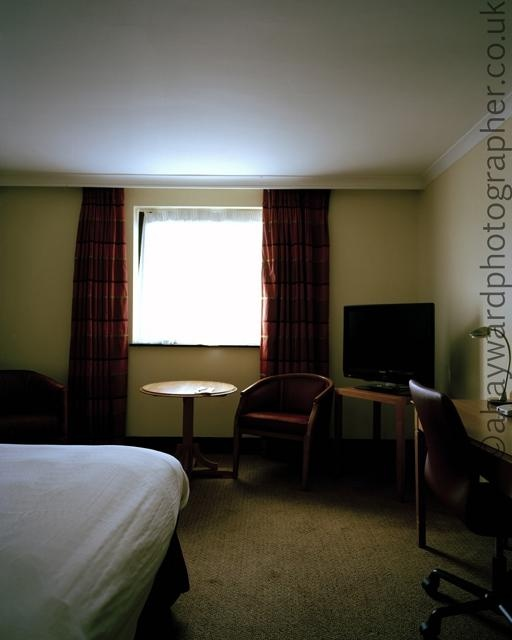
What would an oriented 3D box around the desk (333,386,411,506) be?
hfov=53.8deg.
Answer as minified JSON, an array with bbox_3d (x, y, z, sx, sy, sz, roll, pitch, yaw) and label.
[{"bbox_3d":[0.750,0.768,3.646,0.464,0.622,0.689,4,5,1],"label":"desk"}]

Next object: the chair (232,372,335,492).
[{"bbox_3d":[0.234,0.753,3.663,0.650,0.754,0.671,-1,-7,40],"label":"chair"}]

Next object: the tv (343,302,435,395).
[{"bbox_3d":[0.954,0.198,3.665,0.167,0.643,0.746,1,0,-44],"label":"tv"}]
